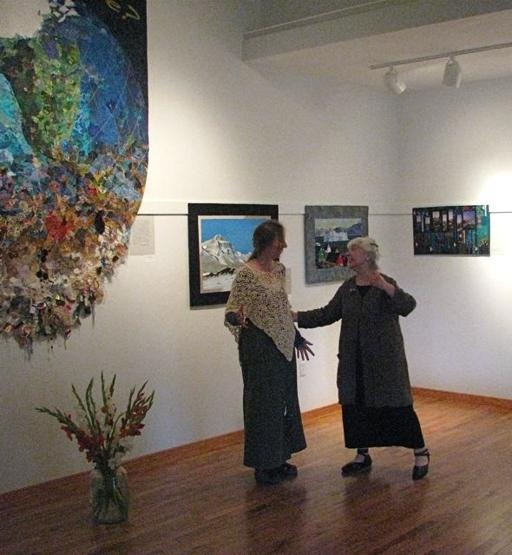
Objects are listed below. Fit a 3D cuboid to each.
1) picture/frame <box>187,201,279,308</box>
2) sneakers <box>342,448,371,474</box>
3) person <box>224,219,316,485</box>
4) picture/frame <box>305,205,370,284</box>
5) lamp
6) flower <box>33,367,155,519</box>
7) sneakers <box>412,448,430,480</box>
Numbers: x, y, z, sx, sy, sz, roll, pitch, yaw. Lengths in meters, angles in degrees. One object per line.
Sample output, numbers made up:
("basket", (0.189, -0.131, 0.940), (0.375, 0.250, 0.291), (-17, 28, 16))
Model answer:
("picture/frame", (-0.208, -0.151, 3.571), (0.830, 0.868, 0.047), (-3, 4, -43))
("sneakers", (0.690, 1.266, 3.305), (0.092, 0.120, 0.279), (-6, -9, 39))
("person", (0.059, 0.623, 3.105), (0.621, 1.411, 0.322), (-4, 6, -38))
("picture/frame", (0.824, -0.348, 4.825), (0.726, 0.726, 0.031), (2, 6, 43))
("lamp", (1.373, -1.668, 4.029), (0.576, 0.320, 0.312), (-5, 32, 12))
("flower", (-0.769, 0.971, 2.630), (0.441, 0.655, 0.481), (-4, -4, 6))
("sneakers", (1.060, 1.215, 3.102), (0.071, 0.104, 0.242), (-1, 2, 27))
